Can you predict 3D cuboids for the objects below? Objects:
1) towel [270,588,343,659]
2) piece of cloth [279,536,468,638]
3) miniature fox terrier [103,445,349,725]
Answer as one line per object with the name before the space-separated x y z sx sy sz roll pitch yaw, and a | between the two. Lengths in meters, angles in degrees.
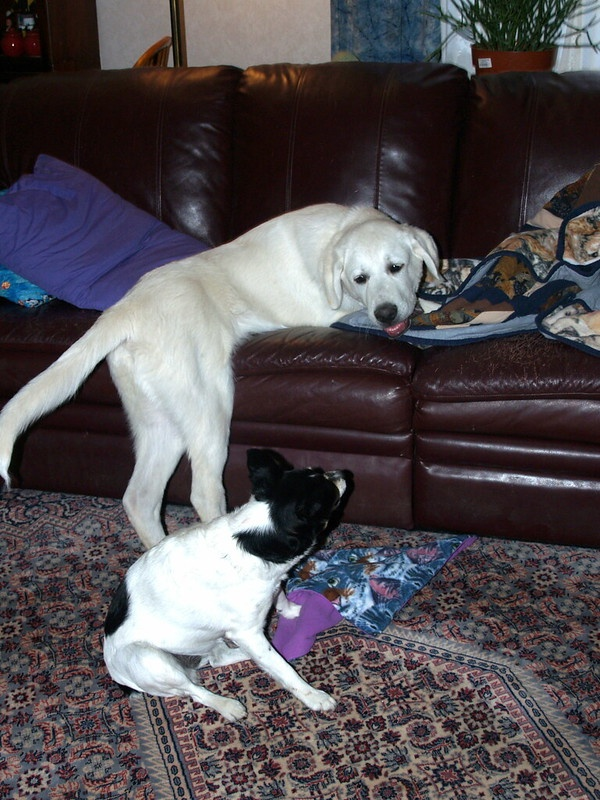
towel | 0.018 0.570 1.832 0.201 0.177 0.072 -5 -22 6
piece of cloth | 0.196 0.504 1.912 0.267 0.055 0.355 8 20 32
miniature fox terrier | -0.167 0.419 1.606 0.548 0.577 0.316 -2 22 0
